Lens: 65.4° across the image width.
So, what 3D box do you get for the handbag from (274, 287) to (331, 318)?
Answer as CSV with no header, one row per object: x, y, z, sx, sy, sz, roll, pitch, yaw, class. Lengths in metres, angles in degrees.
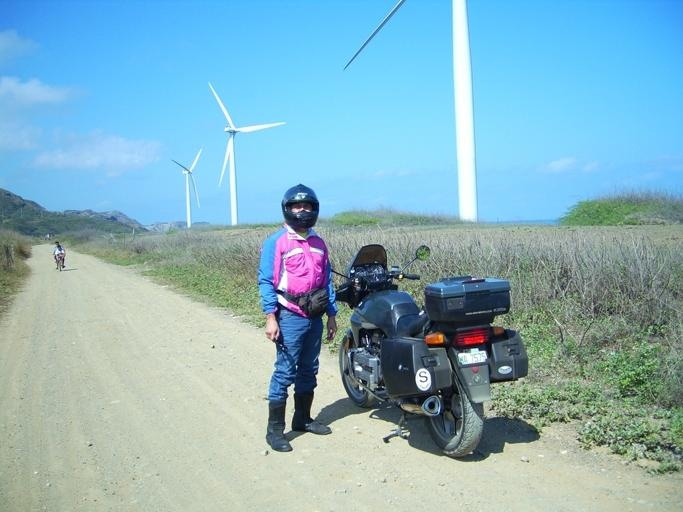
-0.415,0.507,6.197,0.435,0.232,0.353,18,4,8,handbag

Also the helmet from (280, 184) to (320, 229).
-0.485,-0.573,6.250,0.395,0.553,0.281,-2,10,-8,helmet

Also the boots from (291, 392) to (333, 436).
-0.278,1.978,6.674,0.631,0.646,0.303,1,0,0,boots
